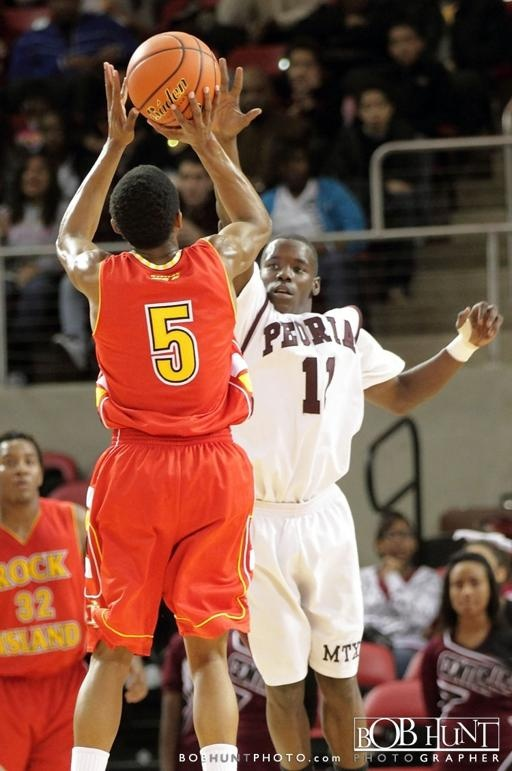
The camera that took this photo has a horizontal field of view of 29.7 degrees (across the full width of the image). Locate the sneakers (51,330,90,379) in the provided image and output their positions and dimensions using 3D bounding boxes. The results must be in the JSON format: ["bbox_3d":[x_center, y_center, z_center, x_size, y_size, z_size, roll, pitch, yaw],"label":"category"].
[{"bbox_3d":[-1.350,-0.226,7.070,0.095,0.272,0.275,-30,14,3],"label":"sneakers"}]

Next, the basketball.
[{"bbox_3d":[-0.265,-0.994,3.173,0.330,0.335,0.293,-7,24,7],"label":"basketball"}]
